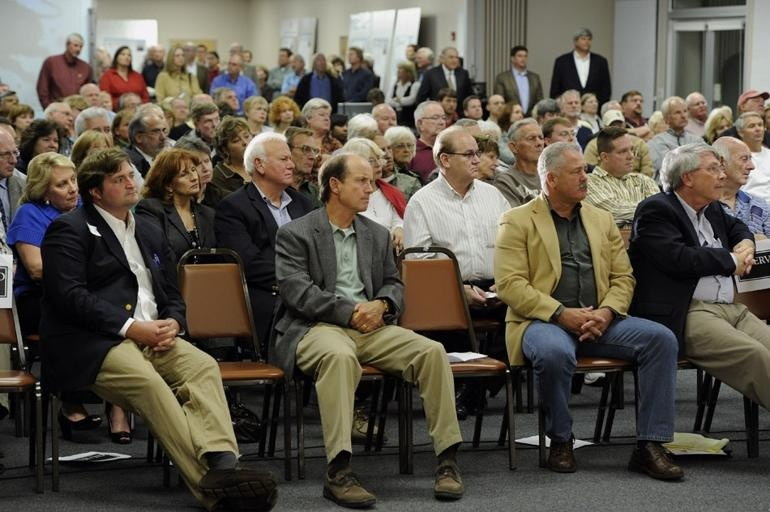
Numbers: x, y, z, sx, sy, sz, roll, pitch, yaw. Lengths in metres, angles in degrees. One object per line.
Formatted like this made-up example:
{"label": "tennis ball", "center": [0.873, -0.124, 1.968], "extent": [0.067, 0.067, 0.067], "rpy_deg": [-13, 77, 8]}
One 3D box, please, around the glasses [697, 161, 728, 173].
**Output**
{"label": "glasses", "center": [2.030, -0.554, 4.378], "extent": [0.161, 0.046, 0.161], "rpy_deg": [2, -6, -21]}

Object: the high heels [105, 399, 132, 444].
{"label": "high heels", "center": [-1.646, 1.031, 4.347], "extent": [0.156, 0.217, 0.505], "rpy_deg": [4, -8, -23]}

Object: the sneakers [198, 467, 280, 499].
{"label": "sneakers", "center": [-0.699, 1.068, 3.341], "extent": [0.217, 0.089, 0.187], "rpy_deg": [2, -3, 0]}

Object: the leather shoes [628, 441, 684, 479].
{"label": "leather shoes", "center": [1.503, 1.117, 3.889], "extent": [0.148, 0.176, 0.359], "rpy_deg": [5, -7, -19]}

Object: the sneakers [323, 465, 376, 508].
{"label": "sneakers", "center": [-0.188, 1.143, 3.557], "extent": [0.126, 0.156, 0.301], "rpy_deg": [2, -1, -42]}

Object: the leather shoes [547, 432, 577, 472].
{"label": "leather shoes", "center": [0.992, 1.115, 3.927], "extent": [0.092, 0.105, 0.257], "rpy_deg": [0, -6, 2]}

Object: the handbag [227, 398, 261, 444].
{"label": "handbag", "center": [-0.870, 1.032, 4.367], "extent": [0.283, 0.104, 0.210], "rpy_deg": [33, 0, 1]}

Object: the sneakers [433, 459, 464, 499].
{"label": "sneakers", "center": [0.327, 1.133, 3.597], "extent": [0.134, 0.164, 0.153], "rpy_deg": [1, 6, 7]}
